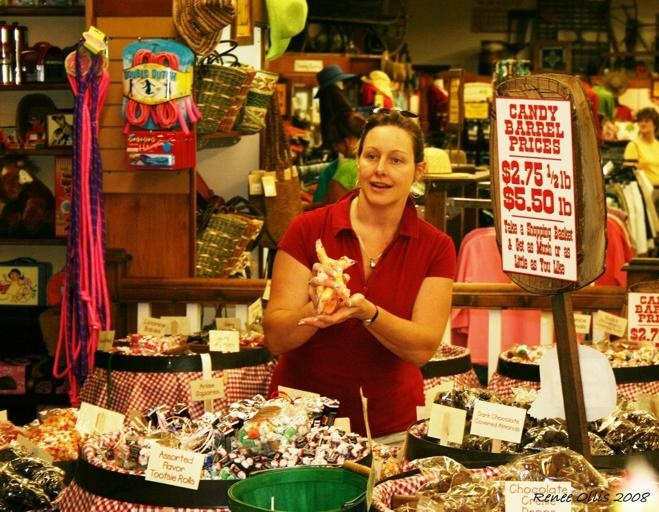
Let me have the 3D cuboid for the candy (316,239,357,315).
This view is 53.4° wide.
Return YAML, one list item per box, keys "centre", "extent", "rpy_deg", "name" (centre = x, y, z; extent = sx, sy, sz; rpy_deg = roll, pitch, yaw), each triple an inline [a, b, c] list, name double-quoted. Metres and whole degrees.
- centre: [0.015, 0.056, 1.854]
  extent: [0.099, 0.197, 0.180]
  rpy_deg: [1, 4, 2]
  name: "candy"

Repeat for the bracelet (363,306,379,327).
- centre: [0.134, 0.179, 1.969]
  extent: [0.027, 0.050, 0.053]
  rpy_deg: [38, -35, -24]
  name: "bracelet"

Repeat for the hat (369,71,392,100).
- centre: [0.537, -1.787, 6.897]
  extent: [0.225, 0.283, 0.252]
  rpy_deg: [1, 4, 3]
  name: "hat"
